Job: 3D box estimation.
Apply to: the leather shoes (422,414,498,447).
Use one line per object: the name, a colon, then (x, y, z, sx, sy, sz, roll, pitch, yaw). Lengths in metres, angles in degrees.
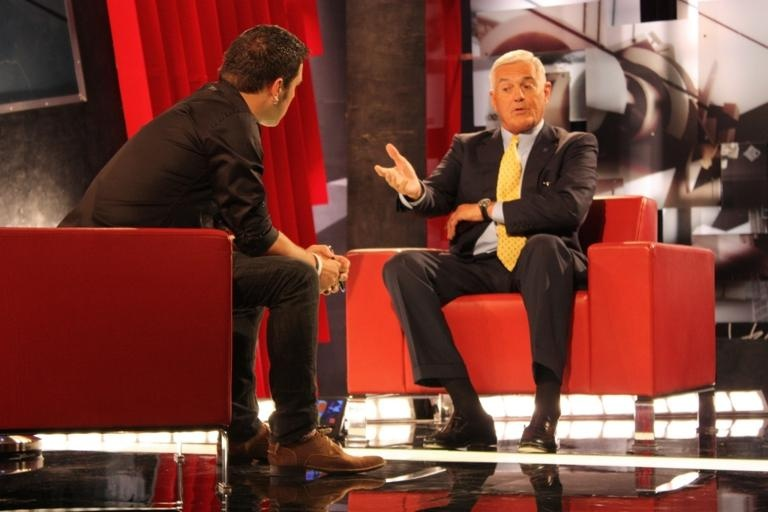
leather shoes: (0.298, 0.673, 3.152, 0.306, 0.129, 0.096, -9, -12, 17)

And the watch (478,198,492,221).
watch: (0.427, -0.188, 3.391, 0.056, 0.080, 0.085, -5, 17, 15)

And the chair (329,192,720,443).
chair: (0.725, 0.264, 3.720, 1.384, 0.943, 0.800, -2, -4, 37)

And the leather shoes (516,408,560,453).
leather shoes: (0.593, 0.658, 3.049, 0.120, 0.130, 0.297, 6, 0, 26)

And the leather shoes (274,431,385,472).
leather shoes: (-0.195, 0.681, 2.853, 0.401, 0.153, 0.142, 0, -6, -4)

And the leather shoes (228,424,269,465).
leather shoes: (-0.482, 0.697, 2.967, 0.200, 0.082, 0.070, -3, -1, -16)
